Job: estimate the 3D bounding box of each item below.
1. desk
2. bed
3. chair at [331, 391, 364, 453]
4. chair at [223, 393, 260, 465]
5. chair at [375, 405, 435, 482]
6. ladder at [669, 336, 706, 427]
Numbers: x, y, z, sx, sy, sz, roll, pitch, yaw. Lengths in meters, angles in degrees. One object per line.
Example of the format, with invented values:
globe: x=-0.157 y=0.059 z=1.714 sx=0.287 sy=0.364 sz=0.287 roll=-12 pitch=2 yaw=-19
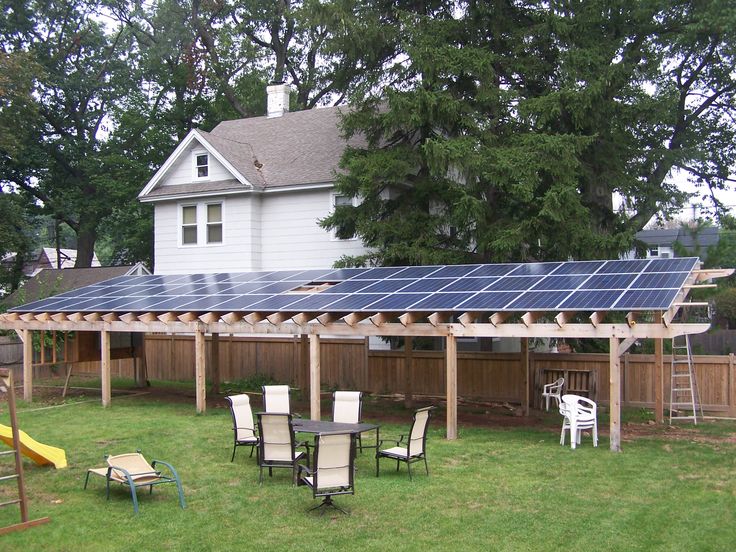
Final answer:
desk: x=-0.853 y=3.758 z=16.868 sx=1.749 sy=1.092 sz=1.612 roll=3 pitch=-1 yaw=-44
bed: x=-5.086 y=4.222 z=16.145 sx=2.394 sy=0.934 sz=1.120 roll=1 pitch=-2 yaw=43
chair: x=-0.480 y=3.685 z=19.192 sx=0.739 sy=1.377 sz=0.867 roll=3 pitch=0 yaw=-27
chair: x=-2.979 y=3.727 z=18.477 sx=0.759 sy=1.539 sz=0.890 roll=2 pitch=2 yaw=-32
chair: x=0.852 y=3.839 z=17.491 sx=1.203 sy=1.637 sz=1.121 roll=0 pitch=1 yaw=36
ladder: x=9.402 y=3.375 z=22.648 sx=1.043 sy=3.835 sz=1.387 roll=1 pitch=0 yaw=27
